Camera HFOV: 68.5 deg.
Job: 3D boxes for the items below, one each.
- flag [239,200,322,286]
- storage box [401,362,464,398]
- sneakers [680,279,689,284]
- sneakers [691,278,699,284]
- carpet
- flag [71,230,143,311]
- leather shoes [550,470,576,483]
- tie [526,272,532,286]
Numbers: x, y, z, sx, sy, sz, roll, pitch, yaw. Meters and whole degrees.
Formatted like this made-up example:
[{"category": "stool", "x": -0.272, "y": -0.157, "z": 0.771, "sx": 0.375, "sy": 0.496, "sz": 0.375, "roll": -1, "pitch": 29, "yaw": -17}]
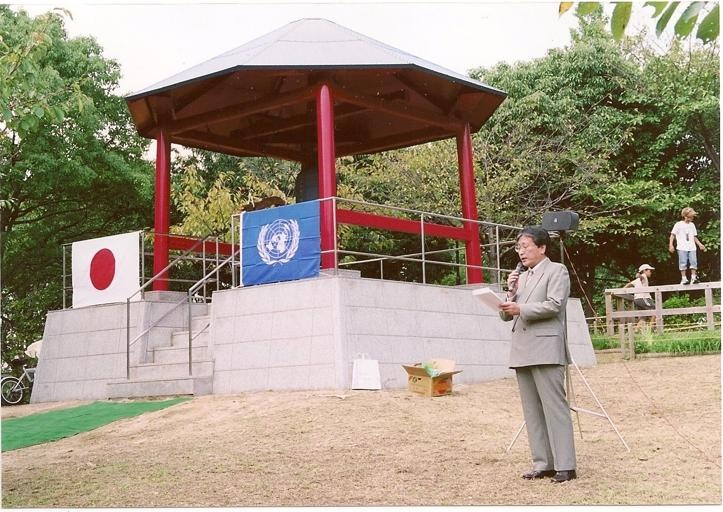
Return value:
[{"category": "flag", "x": -1.667, "y": -0.202, "z": 11.152, "sx": 1.778, "sy": 1.457, "sz": 0.202, "roll": -8, "pitch": -18, "yaw": 26}, {"category": "storage box", "x": 1.310, "y": 2.326, "z": 9.812, "sx": 0.639, "sy": 0.436, "sz": 0.862, "roll": 2, "pitch": -3, "yaw": -35}, {"category": "sneakers", "x": 9.307, "y": 0.769, "z": 15.252, "sx": 0.152, "sy": 0.170, "sz": 0.403, "roll": 0, "pitch": 1, "yaw": 5}, {"category": "sneakers", "x": 9.474, "y": 0.732, "z": 14.989, "sx": 0.207, "sy": 0.176, "sz": 0.155, "roll": 12, "pitch": -12, "yaw": -13}, {"category": "carpet", "x": -5.314, "y": 3.057, "z": 9.738, "sx": 3.216, "sy": 0.337, "sz": 3.137, "roll": -2, "pitch": -3, "yaw": 2}, {"category": "flag", "x": -6.359, "y": 0.414, "z": 13.163, "sx": 2.544, "sy": 1.779, "sz": 0.564, "roll": -4, "pitch": -3, "yaw": 37}, {"category": "leather shoes", "x": 1.973, "y": 2.132, "z": 5.144, "sx": 0.324, "sy": 0.135, "sz": 0.107, "roll": 12, "pitch": -20, "yaw": -40}, {"category": "tie", "x": 1.734, "y": 0.233, "z": 5.438, "sx": 0.072, "sy": 0.093, "sz": 0.048, "roll": 15, "pitch": -1, "yaw": -37}]
